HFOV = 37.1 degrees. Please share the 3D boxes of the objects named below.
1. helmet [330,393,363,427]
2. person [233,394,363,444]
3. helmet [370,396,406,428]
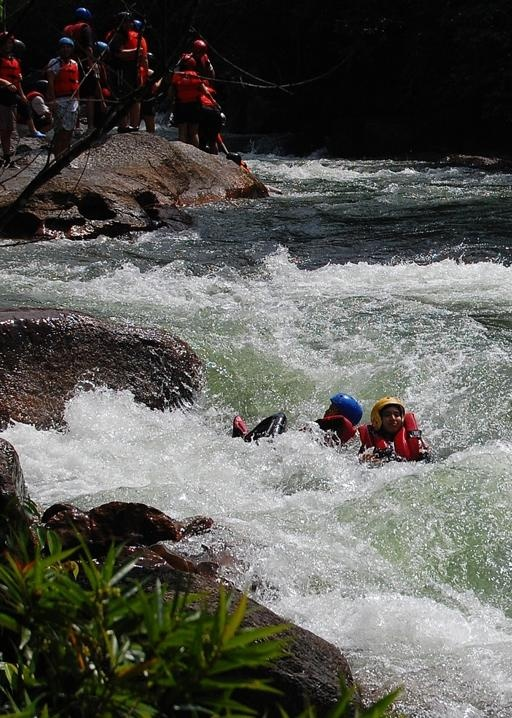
[{"bbox_3d":[0.762,0.396,6.430,0.309,0.221,0.209,29,5,-9],"label":"helmet"},{"bbox_3d":[0.468,0.592,6.615,1.157,0.376,0.377,-23,-12,31],"label":"person"},{"bbox_3d":[1.051,0.424,6.228,0.237,0.274,0.260,2,44,-6],"label":"helmet"}]
